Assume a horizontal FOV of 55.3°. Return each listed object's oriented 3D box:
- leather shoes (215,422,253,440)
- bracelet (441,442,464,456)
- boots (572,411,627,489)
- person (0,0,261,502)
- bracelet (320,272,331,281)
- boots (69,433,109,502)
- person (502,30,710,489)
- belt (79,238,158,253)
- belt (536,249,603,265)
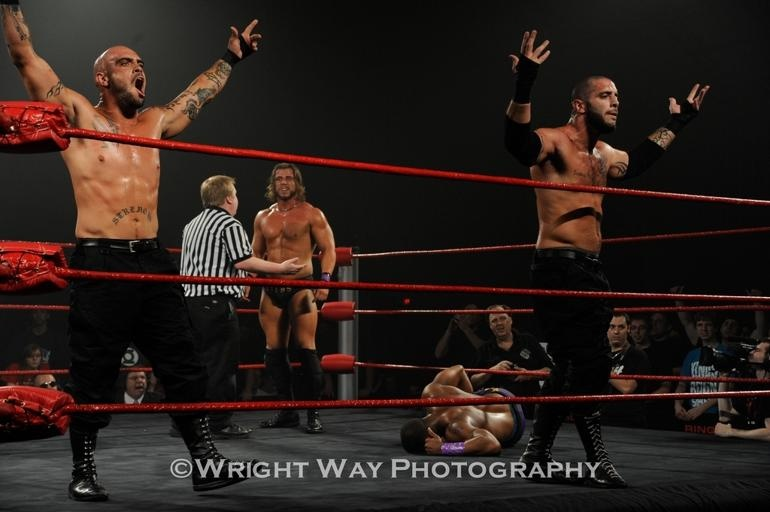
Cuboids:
[{"bbox_3d":[-0.949,1.086,4.594,0.264,0.086,0.083,1,10,-10],"label":"leather shoes"},{"bbox_3d":[0.366,1.022,3.935,0.107,0.036,0.074,-2,-9,17],"label":"bracelet"},{"bbox_3d":[1.036,0.950,3.497,0.162,0.297,0.347,2,-2,-10],"label":"boots"},{"bbox_3d":[-1.140,0.036,3.402,1.090,2.237,0.911,6,9,11],"label":"person"},{"bbox_3d":[-0.397,0.139,4.981,0.070,0.045,0.070,1,-5,-17],"label":"bracelet"},{"bbox_3d":[-1.310,0.915,3.266,0.165,0.281,0.238,1,9,-22],"label":"boots"},{"bbox_3d":[0.947,0.031,3.747,0.765,2.205,0.903,7,9,16],"label":"person"},{"bbox_3d":[-1.205,-0.048,3.343,0.355,0.059,0.082,0,9,-19],"label":"belt"},{"bbox_3d":[0.898,-0.005,3.618,0.314,0.070,0.128,4,8,8],"label":"belt"}]
